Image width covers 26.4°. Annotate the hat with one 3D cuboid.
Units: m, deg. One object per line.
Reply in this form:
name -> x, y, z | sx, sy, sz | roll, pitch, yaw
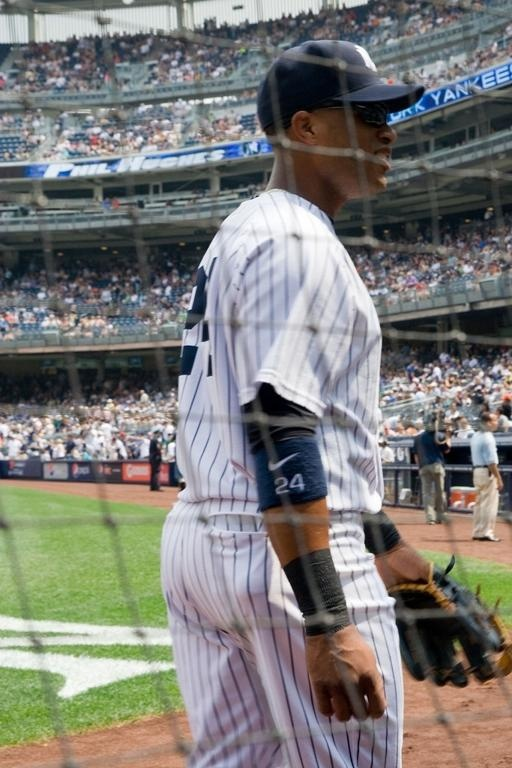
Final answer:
hat -> 0.166, -0.606, 2.206 | 0.346, 0.155, 0.220 | -7, 1, 21
